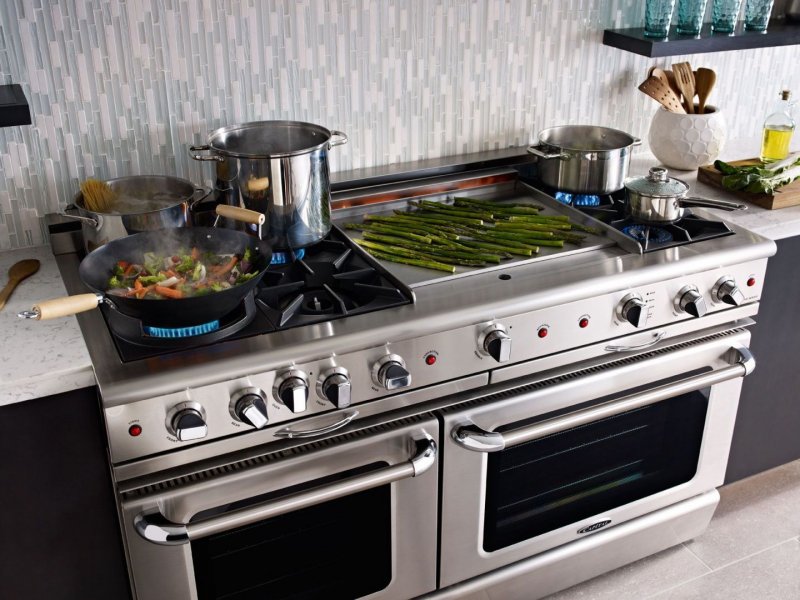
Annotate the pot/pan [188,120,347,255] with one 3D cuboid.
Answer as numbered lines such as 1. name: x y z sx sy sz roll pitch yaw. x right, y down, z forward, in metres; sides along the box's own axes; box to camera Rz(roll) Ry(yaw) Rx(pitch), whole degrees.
1. pot/pan: -0.333 -0.320 1.903 0.522 0.366 0.426 -10 31 -27

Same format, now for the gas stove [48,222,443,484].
1. gas stove: -0.307 0.130 1.575 0.829 0.337 0.433 -13 28 -21

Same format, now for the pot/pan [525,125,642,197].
1. pot/pan: 0.576 -0.443 2.067 0.470 0.181 0.351 -9 21 -23

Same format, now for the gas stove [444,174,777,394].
1. gas stove: 0.446 -0.214 2.188 1.244 0.404 0.964 -9 28 -26

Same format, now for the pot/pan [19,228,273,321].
1. pot/pan: -0.539 -0.059 1.461 0.408 0.081 0.273 -22 42 -34
